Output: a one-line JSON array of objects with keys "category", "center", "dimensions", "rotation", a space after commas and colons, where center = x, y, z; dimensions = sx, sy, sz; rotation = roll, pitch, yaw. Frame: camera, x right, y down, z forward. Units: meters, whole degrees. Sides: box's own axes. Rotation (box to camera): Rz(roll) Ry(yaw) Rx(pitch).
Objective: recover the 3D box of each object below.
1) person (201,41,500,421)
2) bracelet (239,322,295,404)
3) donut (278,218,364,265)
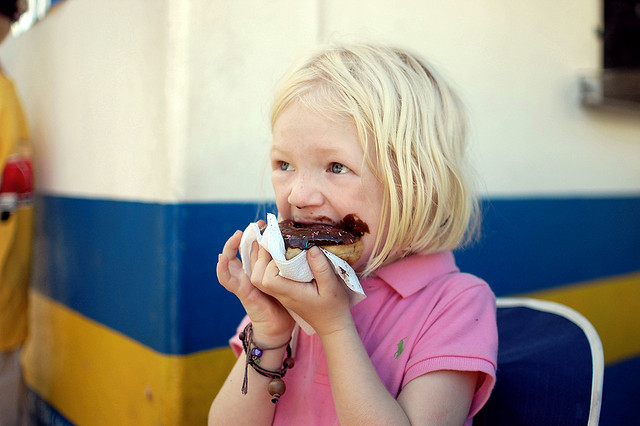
[{"category": "person", "center": [0.101, 0.071, 1.721], "dimensions": [0.879, 1.234, 0.511], "rotation": [-2, 9, -10]}, {"category": "bracelet", "center": [-0.176, 0.506, 1.822], "dimensions": [0.199, 0.079, 0.285], "rotation": [13, 32, -25]}, {"category": "donut", "center": [0.004, 0.066, 1.659], "dimensions": [0.200, 0.139, 0.158], "rotation": [5, 5, 7]}]
